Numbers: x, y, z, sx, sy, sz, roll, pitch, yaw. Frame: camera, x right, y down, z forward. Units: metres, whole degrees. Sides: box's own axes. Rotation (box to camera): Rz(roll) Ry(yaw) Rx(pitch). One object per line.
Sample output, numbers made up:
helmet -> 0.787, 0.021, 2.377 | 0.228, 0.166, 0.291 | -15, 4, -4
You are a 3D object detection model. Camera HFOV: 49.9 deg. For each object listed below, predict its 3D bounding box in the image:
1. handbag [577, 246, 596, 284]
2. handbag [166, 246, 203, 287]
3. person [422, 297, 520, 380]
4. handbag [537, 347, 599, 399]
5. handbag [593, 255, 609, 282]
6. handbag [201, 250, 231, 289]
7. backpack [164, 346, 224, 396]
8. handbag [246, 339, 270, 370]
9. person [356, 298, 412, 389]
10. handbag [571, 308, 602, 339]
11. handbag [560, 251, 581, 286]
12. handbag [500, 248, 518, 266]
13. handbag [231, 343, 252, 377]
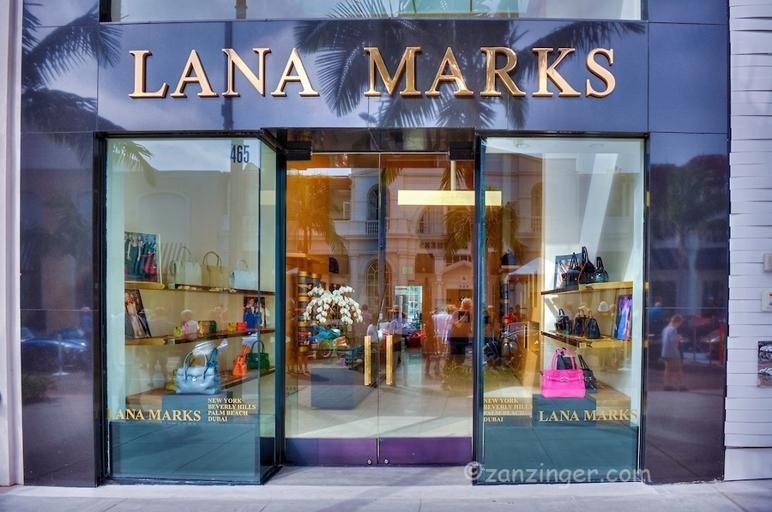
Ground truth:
handbag -> 2.678, 0.127, 11.222 | 0.210, 0.496, 0.110 | -1, -2, 14
handbag -> -2.742, 0.133, 11.291 | 0.485, 0.713, 0.231 | 0, -7, -15
person -> 1.144, 1.163, 11.068 | 1.350, 1.218, 0.640 | -1, -2, 9
handbag -> 2.384, 1.557, 10.981 | 0.695, 0.622, 0.349 | -1, -2, 14
handbag -> 2.839, 0.187, 11.124 | 0.188, 0.349, 0.087 | -3, -3, 42
handbag -> -2.286, 0.175, 11.330 | 0.471, 0.732, 0.239 | 0, -2, -10
backpack -> -2.469, 1.503, 10.975 | 0.594, 0.653, 0.344 | 0, -2, -15
handbag -> -1.705, 1.338, 11.097 | 0.378, 0.478, 0.138 | 0, 0, -10
person -> -0.023, 1.217, 11.419 | 0.348, 1.089, 1.126 | 0, -4, 8
handbag -> 2.589, 0.886, 11.174 | 0.360, 0.352, 0.133 | 8, 18, -14
handbag -> 2.516, 0.221, 11.337 | 0.199, 0.520, 0.202 | 11, -10, -12
handbag -> 1.631, 0.021, 11.145 | 0.244, 0.215, 0.043 | 0, -2, -24
handbag -> -1.913, 1.410, 11.068 | 0.230, 0.419, 0.252 | -1, -2, -5
